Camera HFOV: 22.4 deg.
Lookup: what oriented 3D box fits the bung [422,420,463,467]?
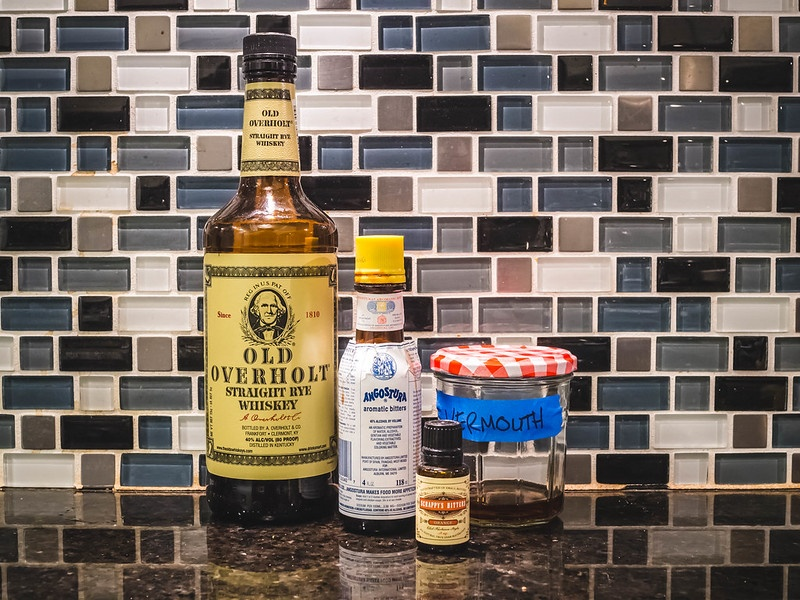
[{"bbox_3d":[0.065,0.221,3.111,0.085,0.065,0.072,1,-2,-6],"label":"bung"}]

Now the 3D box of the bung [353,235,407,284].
[{"bbox_3d":[-0.043,-0.063,3.185,0.101,0.063,0.087,0,1,10],"label":"bung"}]
